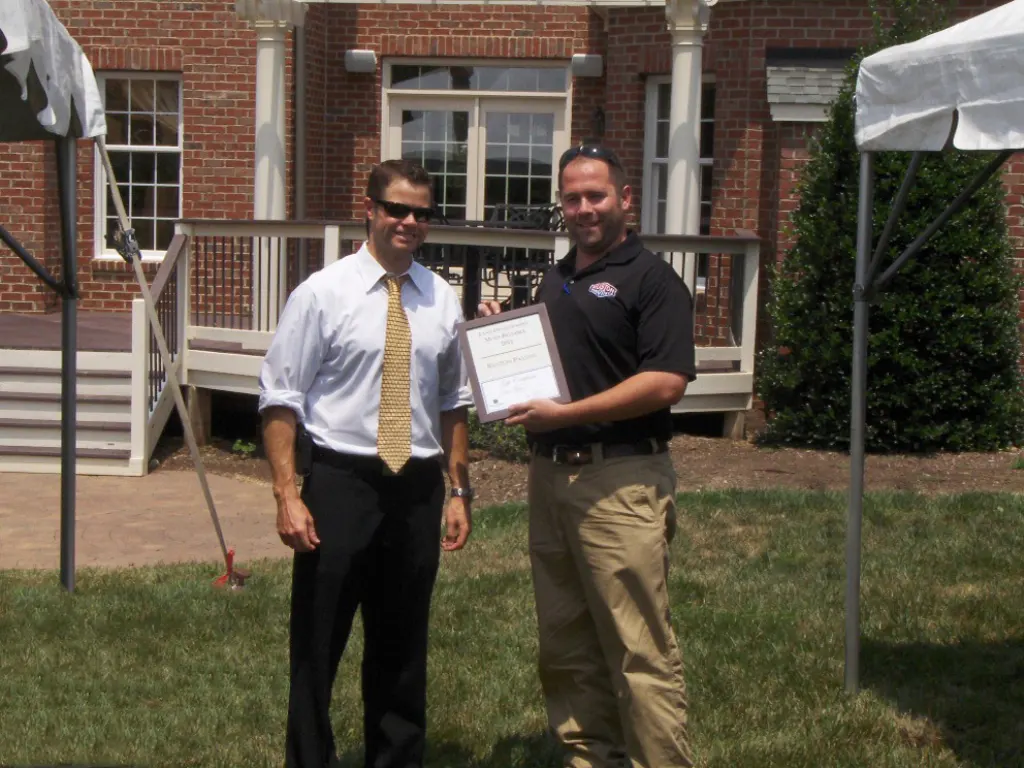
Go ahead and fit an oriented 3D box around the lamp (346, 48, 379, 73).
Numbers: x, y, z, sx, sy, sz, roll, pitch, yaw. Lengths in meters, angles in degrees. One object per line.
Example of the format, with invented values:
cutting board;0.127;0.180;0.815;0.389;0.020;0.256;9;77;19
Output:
lamp;-1.576;-3.409;19.425;0.312;0.227;0.240;0;7;-1

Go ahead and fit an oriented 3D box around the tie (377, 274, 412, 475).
tie;-0.620;-0.051;9.917;0.174;1.036;0.187;2;4;-6

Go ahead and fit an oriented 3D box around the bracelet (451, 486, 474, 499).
bracelet;-0.280;0.592;10.127;0.076;0.048;0.069;-1;1;30

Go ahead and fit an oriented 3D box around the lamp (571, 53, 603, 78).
lamp;0.806;-3.300;19.042;0.336;0.245;0.135;3;4;-2
